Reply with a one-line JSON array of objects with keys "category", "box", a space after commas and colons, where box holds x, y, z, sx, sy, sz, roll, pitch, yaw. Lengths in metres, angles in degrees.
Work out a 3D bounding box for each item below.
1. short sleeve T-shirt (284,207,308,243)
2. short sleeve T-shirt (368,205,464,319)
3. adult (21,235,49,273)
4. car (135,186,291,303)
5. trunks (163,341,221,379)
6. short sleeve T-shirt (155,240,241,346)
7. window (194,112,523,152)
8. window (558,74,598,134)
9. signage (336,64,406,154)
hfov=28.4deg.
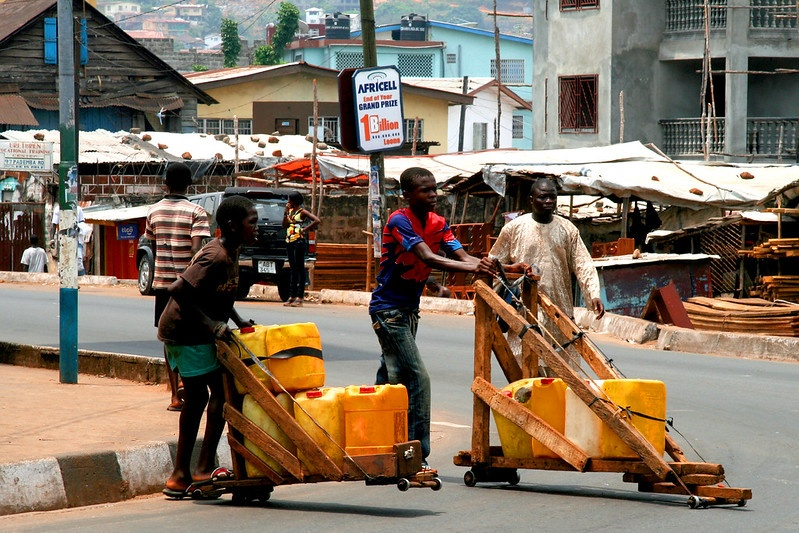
[{"category": "short sleeve T-shirt", "box": [-2.116, -0.834, 31.903, 0.398, 0.690, 0.492, -1, 13, -4]}, {"category": "short sleeve T-shirt", "box": [0.198, -0.091, 22.125, 1.318, 1.673, 1.153, -4, -12, 38]}, {"category": "adult", "box": [-9.606, -0.327, 41.377, 0.602, 1.152, 1.178, -3, 13, -13]}, {"category": "car", "box": [-3.972, -0.677, 34.698, 2.237, 1.801, 3.965, -1, 6, -28]}, {"category": "trunks", "box": [-2.960, 1.278, 21.754, 0.843, 0.451, 0.559, 5, 22, 12]}, {"category": "short sleeve T-shirt", "box": [-2.778, 0.354, 21.628, 1.114, 1.443, 0.529, -2, 13, -8]}, {"category": "window", "box": [-1.870, -4.420, 51.674, 5.223, 1.145, 4.668, 2, 6, 15]}, {"category": "window", "box": [5.507, -5.076, 48.644, 0.102, 2.143, 2.042, 1, 0, -44]}, {"category": "signage", "box": [-0.572, -2.992, 30.180, 1.220, 1.674, 0.635, 0, 13, -1]}]
